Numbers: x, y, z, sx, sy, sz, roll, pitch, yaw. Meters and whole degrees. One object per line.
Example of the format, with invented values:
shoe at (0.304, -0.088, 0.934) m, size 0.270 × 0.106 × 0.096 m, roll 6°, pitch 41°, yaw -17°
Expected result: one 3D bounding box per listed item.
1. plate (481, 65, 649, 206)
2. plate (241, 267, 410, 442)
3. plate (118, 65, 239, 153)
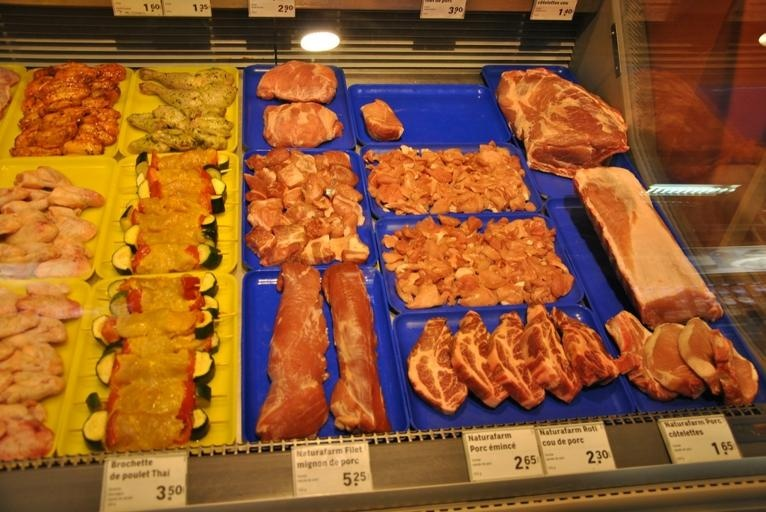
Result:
plate at (1.223, -0.963, 4.026) m, size 0.794 × 1.085 × 0.287 m, roll -28°, pitch -27°, yaw -11°
plate at (-0.356, 0.498, 2.975) m, size 0.841 × 0.956 × 0.347 m, roll -4°, pitch -13°, yaw -10°
plate at (-1.361, -0.958, 3.734) m, size 0.680 × 0.675 × 0.180 m, roll -7°, pitch -31°, yaw -6°
